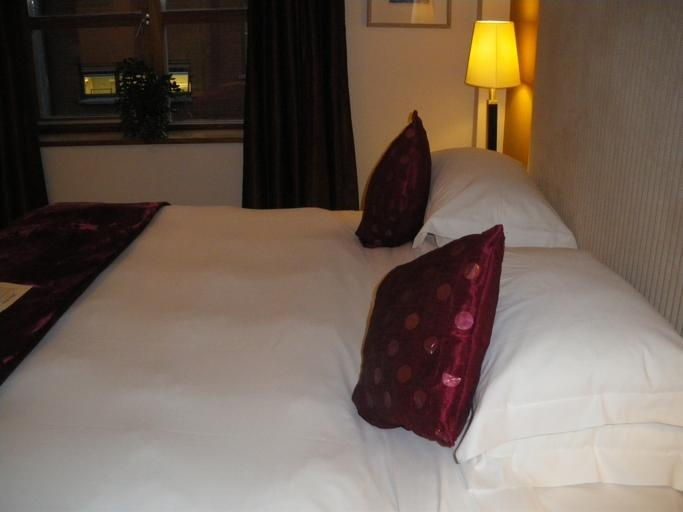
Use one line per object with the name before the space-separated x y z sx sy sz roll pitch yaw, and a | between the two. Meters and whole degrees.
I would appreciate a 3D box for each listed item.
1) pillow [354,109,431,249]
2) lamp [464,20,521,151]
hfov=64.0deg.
pillow | 0.236 -0.240 2.363 0.269 0.548 0.515 -1 -10 3
lamp | 0.814 -0.911 2.944 0.284 0.662 0.320 2 16 11
